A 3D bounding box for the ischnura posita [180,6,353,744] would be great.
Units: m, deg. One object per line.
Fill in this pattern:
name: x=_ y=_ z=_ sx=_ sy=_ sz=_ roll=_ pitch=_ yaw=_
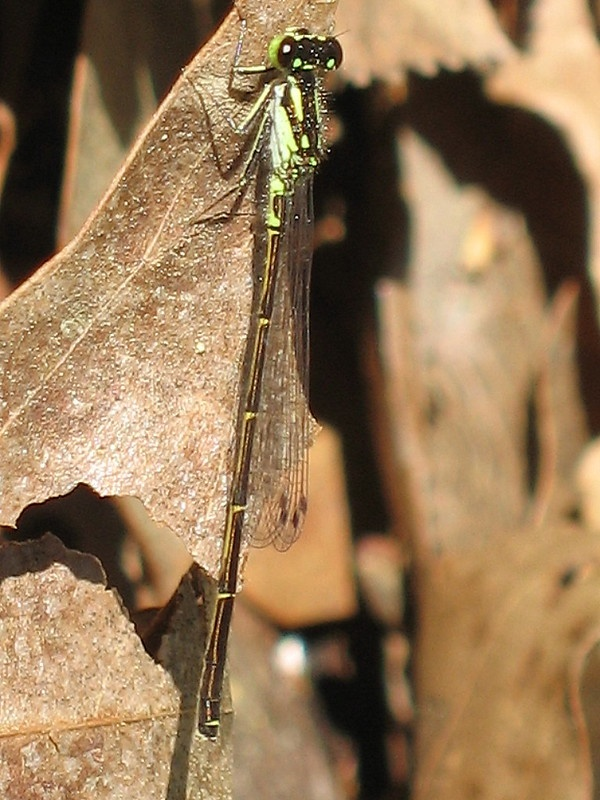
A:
ischnura posita: x=-0.025 y=0.005 z=0.686 sx=0.063 sy=0.096 sz=0.402 roll=4 pitch=91 yaw=-10
